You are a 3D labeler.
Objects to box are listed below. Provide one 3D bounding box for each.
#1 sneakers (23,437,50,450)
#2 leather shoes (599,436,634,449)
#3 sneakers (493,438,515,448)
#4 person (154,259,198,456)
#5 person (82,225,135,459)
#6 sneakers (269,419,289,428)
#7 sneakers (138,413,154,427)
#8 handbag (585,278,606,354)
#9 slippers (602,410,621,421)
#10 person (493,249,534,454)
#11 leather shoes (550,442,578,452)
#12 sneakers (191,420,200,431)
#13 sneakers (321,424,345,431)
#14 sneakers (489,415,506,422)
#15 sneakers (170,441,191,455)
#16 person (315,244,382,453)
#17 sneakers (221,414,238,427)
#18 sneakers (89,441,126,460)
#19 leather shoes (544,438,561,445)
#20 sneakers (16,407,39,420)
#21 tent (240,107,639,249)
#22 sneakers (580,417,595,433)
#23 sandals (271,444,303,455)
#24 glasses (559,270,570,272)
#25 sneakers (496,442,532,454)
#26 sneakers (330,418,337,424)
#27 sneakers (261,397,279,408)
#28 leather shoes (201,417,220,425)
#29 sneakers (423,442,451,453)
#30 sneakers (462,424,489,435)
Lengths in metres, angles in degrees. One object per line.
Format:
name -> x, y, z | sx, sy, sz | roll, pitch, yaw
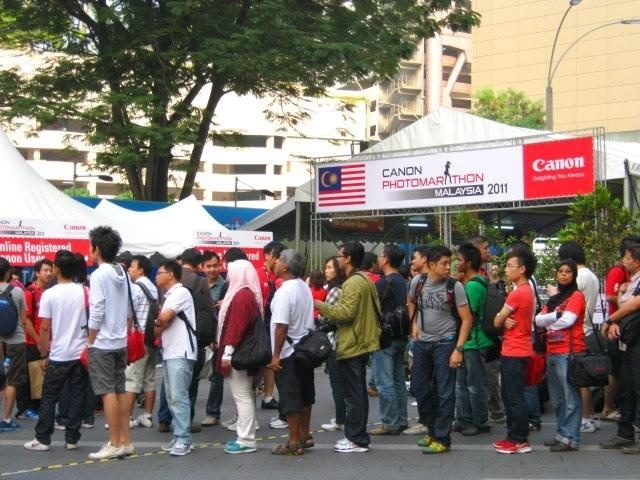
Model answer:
sneakers -> -4.121, 3.008, 14.428 | 0.359, 0.184, 0.153 | 6, -3, 5
leather shoes -> 4.232, 2.930, 14.124 | 0.493, 0.225, 0.190 | 2, -8, 6
sneakers -> 2.592, 2.892, 14.049 | 0.327, 0.159, 0.117 | 3, 0, 3
person -> -2.088, 1.713, 14.310 | 0.580, 2.806, 0.370 | 1, -5, -11
person -> -3.004, 1.484, 14.124 | 0.624, 3.291, 0.392 | 2, -5, -23
sneakers -> -0.678, 2.941, 15.686 | 0.214, 0.094, 0.152 | 5, -5, 1
sneakers -> -2.752, 2.886, 15.663 | 0.293, 0.140, 0.120 | 2, 0, 44
handbag -> 4.175, 1.206, 15.110 | 0.326, 1.050, 0.574 | -2, -8, 14
slippers -> 4.621, 2.827, 15.775 | 0.243, 0.098, 0.137 | -6, -3, 3
person -> 2.763, 1.584, 14.058 | 0.602, 2.922, 0.310 | -1, -5, 9
leather shoes -> 3.442, 2.971, 14.031 | 0.370, 0.166, 0.153 | 3, -8, 7
sneakers -> -1.979, 2.942, 15.465 | 0.182, 0.199, 0.117 | -1, -3, 9
sneakers -> 0.171, 2.952, 15.533 | 0.325, 0.157, 0.125 | 4, -5, 0
sneakers -> 2.807, 2.869, 15.726 | 0.239, 0.182, 0.094 | -5, -10, 15
sneakers -> -2.000, 3.027, 14.199 | 0.359, 0.153, 0.120 | 12, -12, -38
person -> 0.418, 1.555, 14.328 | 0.935, 3.051, 0.653 | 1, -5, -17
sneakers -> -1.454, 2.915, 15.734 | 0.123, 0.148, 0.336 | 7, -5, -43
sneakers -> -2.987, 3.034, 14.112 | 0.569, 0.273, 0.203 | 3, -8, -3
leather shoes -> 3.328, 2.932, 14.245 | 0.163, 0.073, 0.098 | -1, -6, 24
sneakers -> -4.802, 2.871, 16.217 | 0.421, 0.202, 0.156 | 8, -9, -9
tent -> 3.041, -1.799, 24.955 | 10.099, 3.429, 4.341 | -4, -6, 31
sneakers -> 4.069, 2.855, 15.143 | 0.153, 0.217, 0.441 | -2, -3, 31
sandals -> -0.471, 3.036, 14.148 | 0.345, 0.156, 0.184 | 4, -6, 4
glasses -> 3.455, 0.455, 14.110 | 0.131, 0.038, 0.027 | -2, -6, 20
sneakers -> 2.735, 2.934, 13.974 | 0.438, 0.212, 0.184 | 4, -2, 0
sneakers -> 0.206, 2.907, 15.718 | 0.128, 0.069, 0.191 | 2, -3, -2
sneakers -> -0.871, 2.844, 17.055 | 0.258, 0.120, 0.140 | 0, 1, -8
leather shoes -> -1.760, 2.919, 15.818 | 0.238, 0.104, 0.129 | 4, -6, -18
sneakers -> 1.649, 2.984, 14.103 | 0.341, 0.153, 0.153 | 4, 2, -3
sneakers -> 2.358, 2.924, 15.016 | 0.420, 0.174, 0.163 | 1, -7, 8
